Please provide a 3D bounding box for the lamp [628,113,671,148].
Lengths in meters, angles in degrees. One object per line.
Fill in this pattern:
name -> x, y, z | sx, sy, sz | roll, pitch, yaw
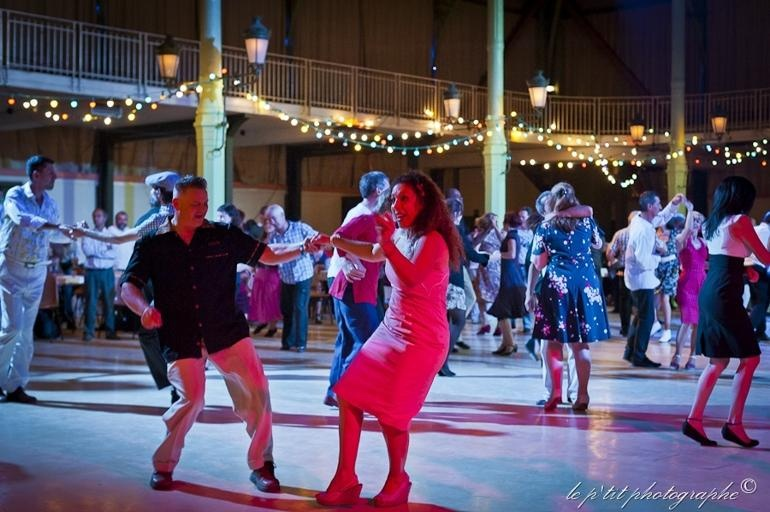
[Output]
lamp -> 6.197, -2.996, 18.210 | 1.171, 0.725, 0.859 | 0, -5, 0

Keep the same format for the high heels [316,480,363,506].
high heels -> -0.322, 1.595, 5.237 | 0.231, 0.108, 0.148 | 3, -8, -9

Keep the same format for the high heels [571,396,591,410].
high heels -> 1.895, 1.419, 7.490 | 0.091, 0.163, 0.156 | 2, -2, -3

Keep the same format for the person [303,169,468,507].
person -> 0.074, 0.551, 5.206 | 0.904, 2.236, 0.354 | 0, 3, -1

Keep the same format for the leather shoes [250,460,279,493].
leather shoes -> -0.852, 1.557, 5.504 | 0.106, 0.141, 0.287 | 2, -6, -36

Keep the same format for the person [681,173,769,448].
person -> 2.862, 0.438, 6.467 | 0.626, 2.207, 0.573 | 1, 3, 27

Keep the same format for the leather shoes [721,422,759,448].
leather shoes -> 2.891, 1.469, 6.413 | 0.375, 0.188, 0.134 | 10, -2, 11

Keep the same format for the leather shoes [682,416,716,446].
leather shoes -> 2.621, 1.439, 6.435 | 0.264, 0.214, 0.192 | 1, 3, 21

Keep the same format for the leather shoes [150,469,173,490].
leather shoes -> -1.587, 1.568, 5.451 | 0.155, 0.123, 0.127 | -1, 3, -18

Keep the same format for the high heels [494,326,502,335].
high heels -> 1.933, 1.290, 13.306 | 0.121, 0.063, 0.091 | -39, -19, -4

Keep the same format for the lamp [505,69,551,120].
lamp -> 2.942, -3.108, 14.914 | 0.406, 0.880, 0.517 | 6, 14, 39

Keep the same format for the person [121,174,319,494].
person -> -1.306, 0.541, 5.543 | 1.098, 2.193, 0.418 | 0, 3, -1

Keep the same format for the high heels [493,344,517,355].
high heels -> 1.702, 1.315, 10.920 | 0.373, 0.164, 0.131 | 0, -3, -3

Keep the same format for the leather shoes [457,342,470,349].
leather shoes -> 1.146, 1.334, 11.583 | 0.211, 0.099, 0.075 | 0, 0, 31
